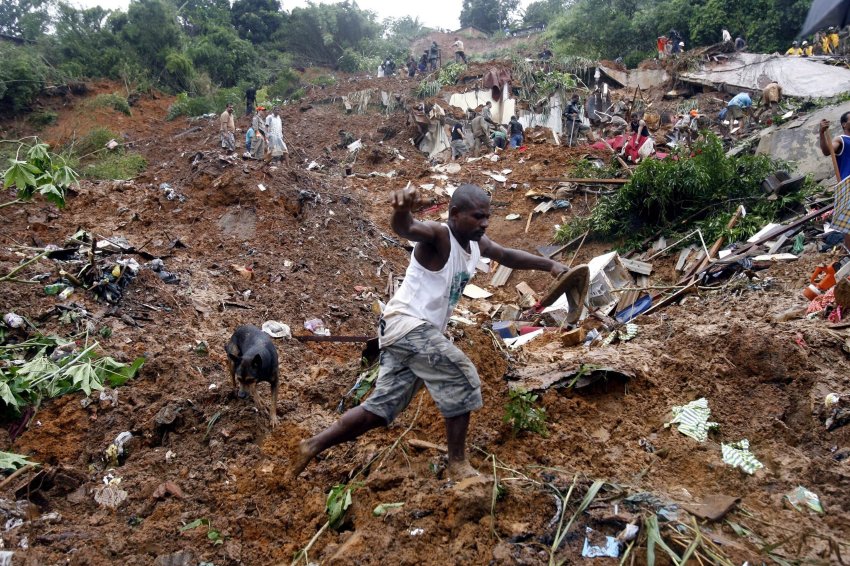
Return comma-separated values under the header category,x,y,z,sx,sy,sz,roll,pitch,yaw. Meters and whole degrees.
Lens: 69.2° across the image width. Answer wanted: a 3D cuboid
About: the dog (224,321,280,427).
category,x,y,z,sx,sy,sz,roll,pitch,yaw
dog,-1.898,0.954,6.870,0.440,0.799,1.292,-7,30,-15
